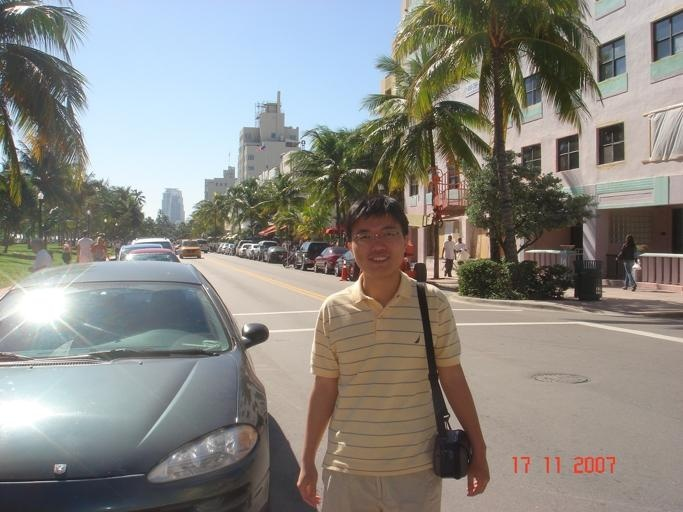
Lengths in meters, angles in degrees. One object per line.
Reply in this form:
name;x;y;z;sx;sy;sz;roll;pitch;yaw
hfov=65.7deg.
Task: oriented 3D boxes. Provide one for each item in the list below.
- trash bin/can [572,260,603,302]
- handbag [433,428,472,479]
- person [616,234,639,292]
trash bin/can;7.872;0.794;16.868;0.969;1.715;1.093;-2;-2;29
handbag;0.600;1.082;2.869;0.192;0.302;0.290;-1;-8;13
person;10.954;0.217;20.183;0.550;1.516;2.684;-1;0;30
